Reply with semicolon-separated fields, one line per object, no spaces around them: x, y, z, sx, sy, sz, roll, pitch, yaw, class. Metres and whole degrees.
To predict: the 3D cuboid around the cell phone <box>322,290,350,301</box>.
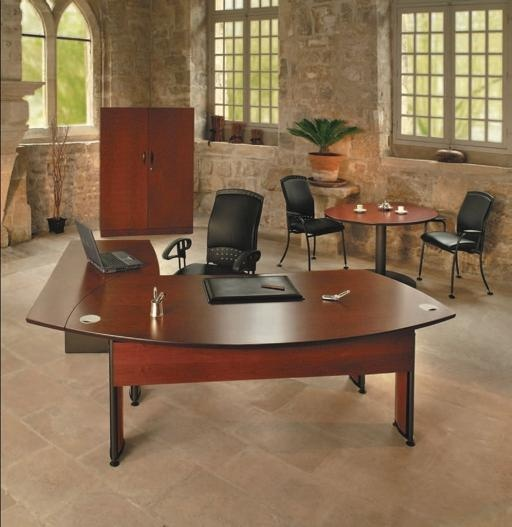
0.427;0.172;2.769;0.102;0.036;0.067;1;17;-3;cell phone

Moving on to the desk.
-0.134;0.265;2.881;1.367;0.393;1.419;-2;15;-8;desk

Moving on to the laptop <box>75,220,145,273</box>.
-0.951;-0.203;3.346;0.380;0.279;0.470;-6;17;-23;laptop

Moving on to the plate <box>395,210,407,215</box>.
1.506;-0.533;5.391;0.110;0.033;0.144;3;11;15;plate

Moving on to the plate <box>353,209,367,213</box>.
1.104;-0.558;5.472;0.137;0.029;0.076;-3;11;-17;plate

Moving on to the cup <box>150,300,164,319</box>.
-0.473;0.216;2.466;0.059;0.074;0.057;0;11;0;cup

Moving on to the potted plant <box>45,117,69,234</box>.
-2.864;-1.253;7.532;0.312;1.575;0.641;-2;12;-9;potted plant

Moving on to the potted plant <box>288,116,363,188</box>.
0.851;-1.464;6.587;0.937;0.804;0.931;0;7;33;potted plant
